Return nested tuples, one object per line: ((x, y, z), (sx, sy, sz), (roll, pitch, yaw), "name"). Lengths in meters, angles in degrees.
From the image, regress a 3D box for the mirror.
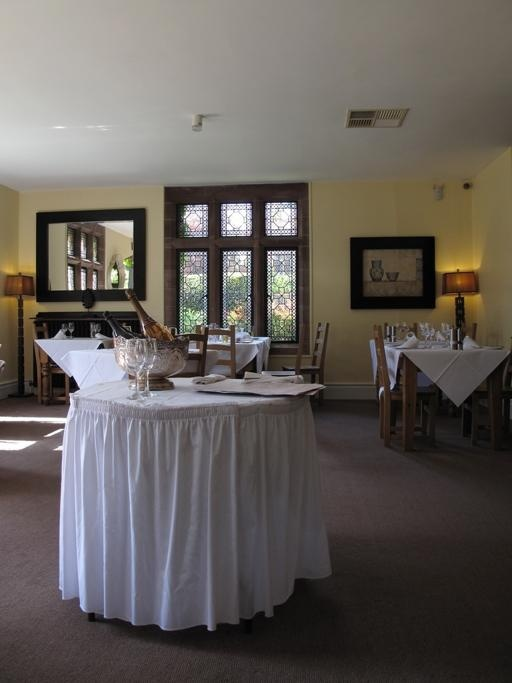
((-2.057, -1.138, 6.998), (1.454, 1.339, 0.106), (1, 4, 10), "mirror")

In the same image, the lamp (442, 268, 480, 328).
((2.359, -0.466, 6.324), (0.403, 0.611, 0.402), (10, -12, -42), "lamp")

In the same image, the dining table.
((-0.116, 0.391, 1.665), (0.649, 0.503, 0.666), (3, 6, 33), "dining table")

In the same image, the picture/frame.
((1.699, -0.860, 6.598), (0.790, 0.754, 0.061), (-1, 0, 4), "picture/frame")

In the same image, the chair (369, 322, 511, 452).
((1.439, 0.333, 4.401), (0.959, 0.912, 1.296), (0, 1, 12), "chair")

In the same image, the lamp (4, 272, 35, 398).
((-3.058, -0.086, 7.095), (0.459, 1.589, 0.414), (0, 1, 31), "lamp")
